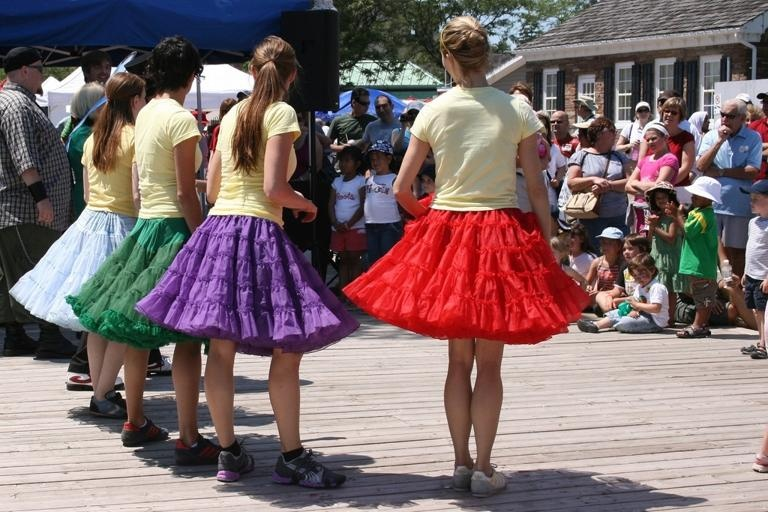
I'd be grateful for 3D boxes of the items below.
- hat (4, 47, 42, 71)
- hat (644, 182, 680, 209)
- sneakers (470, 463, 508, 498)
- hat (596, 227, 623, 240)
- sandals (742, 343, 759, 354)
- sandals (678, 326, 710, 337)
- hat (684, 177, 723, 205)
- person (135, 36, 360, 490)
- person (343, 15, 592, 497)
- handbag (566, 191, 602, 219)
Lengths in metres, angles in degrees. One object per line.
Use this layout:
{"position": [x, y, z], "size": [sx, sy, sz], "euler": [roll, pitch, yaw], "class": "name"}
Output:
{"position": [-2.945, -1.555, 7.302], "size": [0.232, 0.140, 0.225], "euler": [-27, 24, -10], "class": "hat"}
{"position": [2.569, -0.550, 8.360], "size": [0.265, 0.260, 0.282], "euler": [3, 12, 16], "class": "hat"}
{"position": [0.570, 1.229, 4.929], "size": [0.103, 0.100, 0.232], "euler": [1, 4, 33], "class": "sneakers"}
{"position": [2.209, -0.208, 8.780], "size": [0.237, 0.119, 0.290], "euler": [3, 11, 13], "class": "hat"}
{"position": [3.007, 0.777, 7.431], "size": [0.148, 0.063, 0.050], "euler": [-1, 2, 19], "class": "sandals"}
{"position": [2.777, 0.682, 8.103], "size": [0.293, 0.108, 0.112], "euler": [1, -2, -5], "class": "sandals"}
{"position": [2.887, -0.589, 8.129], "size": [0.266, 0.133, 0.259], "euler": [8, 2, 32], "class": "hat"}
{"position": [-0.724, 0.050, 4.998], "size": [1.110, 2.430, 0.548], "euler": [0, 12, -2], "class": "person"}
{"position": [0.490, 0.002, 4.952], "size": [1.167, 2.553, 0.590], "euler": [2, 12, 11], "class": "person"}
{"position": [1.995, -0.499, 8.972], "size": [0.237, 0.228, 0.122], "euler": [10, -22, 41], "class": "handbag"}
